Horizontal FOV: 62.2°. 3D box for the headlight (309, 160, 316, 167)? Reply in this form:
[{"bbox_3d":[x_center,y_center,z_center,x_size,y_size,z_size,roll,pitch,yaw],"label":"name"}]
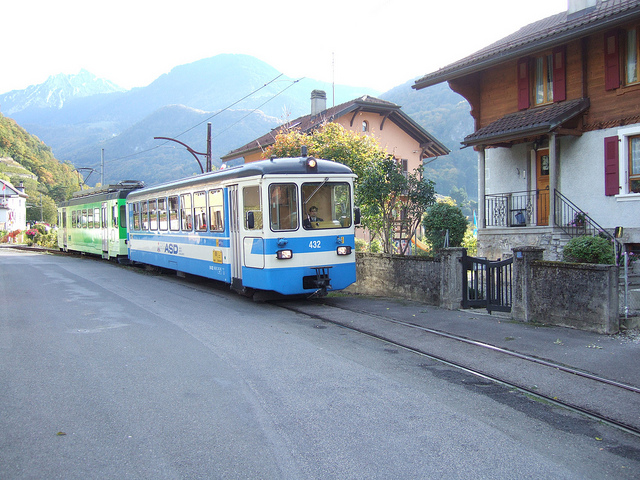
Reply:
[{"bbox_3d":[-0.171,-1.779,12.284,0.136,0.143,0.033,-1,5,-14],"label":"headlight"}]
